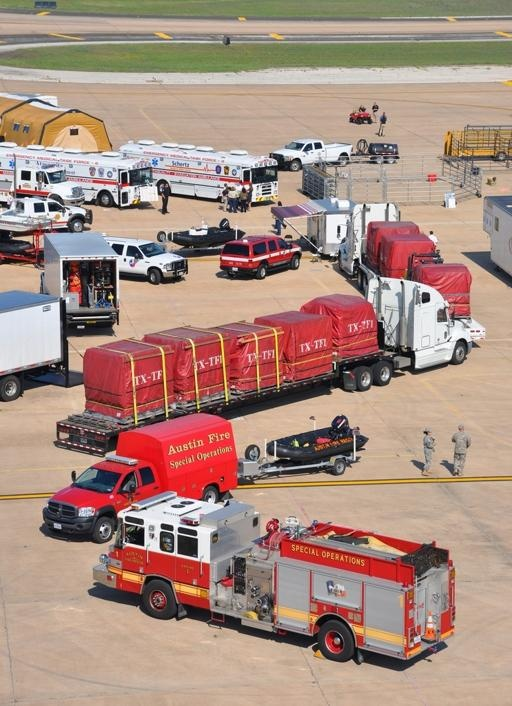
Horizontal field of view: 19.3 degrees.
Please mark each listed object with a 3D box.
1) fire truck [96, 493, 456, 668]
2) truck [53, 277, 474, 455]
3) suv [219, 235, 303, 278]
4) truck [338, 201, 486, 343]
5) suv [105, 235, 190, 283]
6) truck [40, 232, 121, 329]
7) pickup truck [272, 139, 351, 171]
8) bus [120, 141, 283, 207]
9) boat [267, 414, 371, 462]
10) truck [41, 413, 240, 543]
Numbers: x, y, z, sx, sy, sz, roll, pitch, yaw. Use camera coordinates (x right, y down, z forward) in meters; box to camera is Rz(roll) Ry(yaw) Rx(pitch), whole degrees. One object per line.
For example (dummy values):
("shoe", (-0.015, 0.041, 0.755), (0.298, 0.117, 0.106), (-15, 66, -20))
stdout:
("fire truck", (0.035, 4.033, 27.430), (7.289, 2.290, 1.887), (6, 13, 30))
("truck", (0.496, 1.082, 39.510), (15.011, 4.139, 3.491), (-5, 9, -30))
("suv", (0.154, -3.578, 55.222), (0.960, 1.480, 3.100), (9, 15, 42))
("truck", (4.677, -3.729, 52.127), (2.252, 3.218, 6.987), (-4, 21, -13))
("suv", (-3.829, -3.455, 53.758), (2.688, 1.065, 1.522), (15, 23, 31))
("truck", (-5.579, -2.419, 46.589), (1.990, 3.196, 2.073), (17, 27, 40))
("pickup truck", (2.840, -10.447, 78.375), (3.817, 1.644, 1.499), (0, 11, 7))
("bus", (-2.629, -8.452, 70.107), (8.838, 3.326, 2.940), (11, 21, 31))
("boat", (1.544, 2.270, 35.531), (2.151, 1.119, 1.911), (-1, 13, 35))
("truck", (-2.492, 2.658, 32.008), (4.352, 2.124, 1.977), (-13, 15, -38))
